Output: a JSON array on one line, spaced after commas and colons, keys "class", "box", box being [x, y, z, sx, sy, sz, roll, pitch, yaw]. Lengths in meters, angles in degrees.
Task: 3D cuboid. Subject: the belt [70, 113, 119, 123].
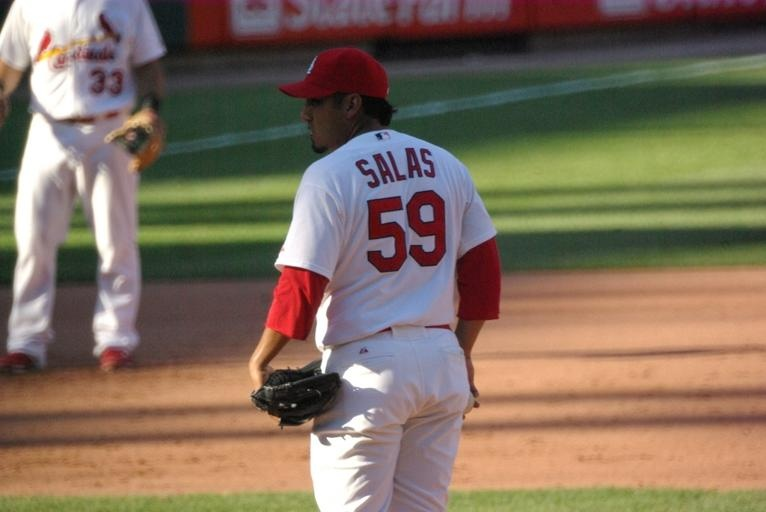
[{"class": "belt", "box": [-1.832, -0.873, 11.317, 0.313, 0.066, 0.056, -1, 2, -4]}]

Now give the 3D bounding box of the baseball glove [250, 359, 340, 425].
[{"class": "baseball glove", "box": [-0.462, 0.769, 9.892, 0.416, 0.178, 0.313, -12, 18, 34]}]

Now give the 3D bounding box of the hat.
[{"class": "hat", "box": [-0.267, -1.039, 10.016, 0.516, 0.256, 0.301, 4, 10, 0]}]

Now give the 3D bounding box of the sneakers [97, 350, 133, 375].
[{"class": "sneakers", "box": [-1.721, 0.686, 11.482, 0.180, 0.117, 0.139, 4, -6, -27]}]
